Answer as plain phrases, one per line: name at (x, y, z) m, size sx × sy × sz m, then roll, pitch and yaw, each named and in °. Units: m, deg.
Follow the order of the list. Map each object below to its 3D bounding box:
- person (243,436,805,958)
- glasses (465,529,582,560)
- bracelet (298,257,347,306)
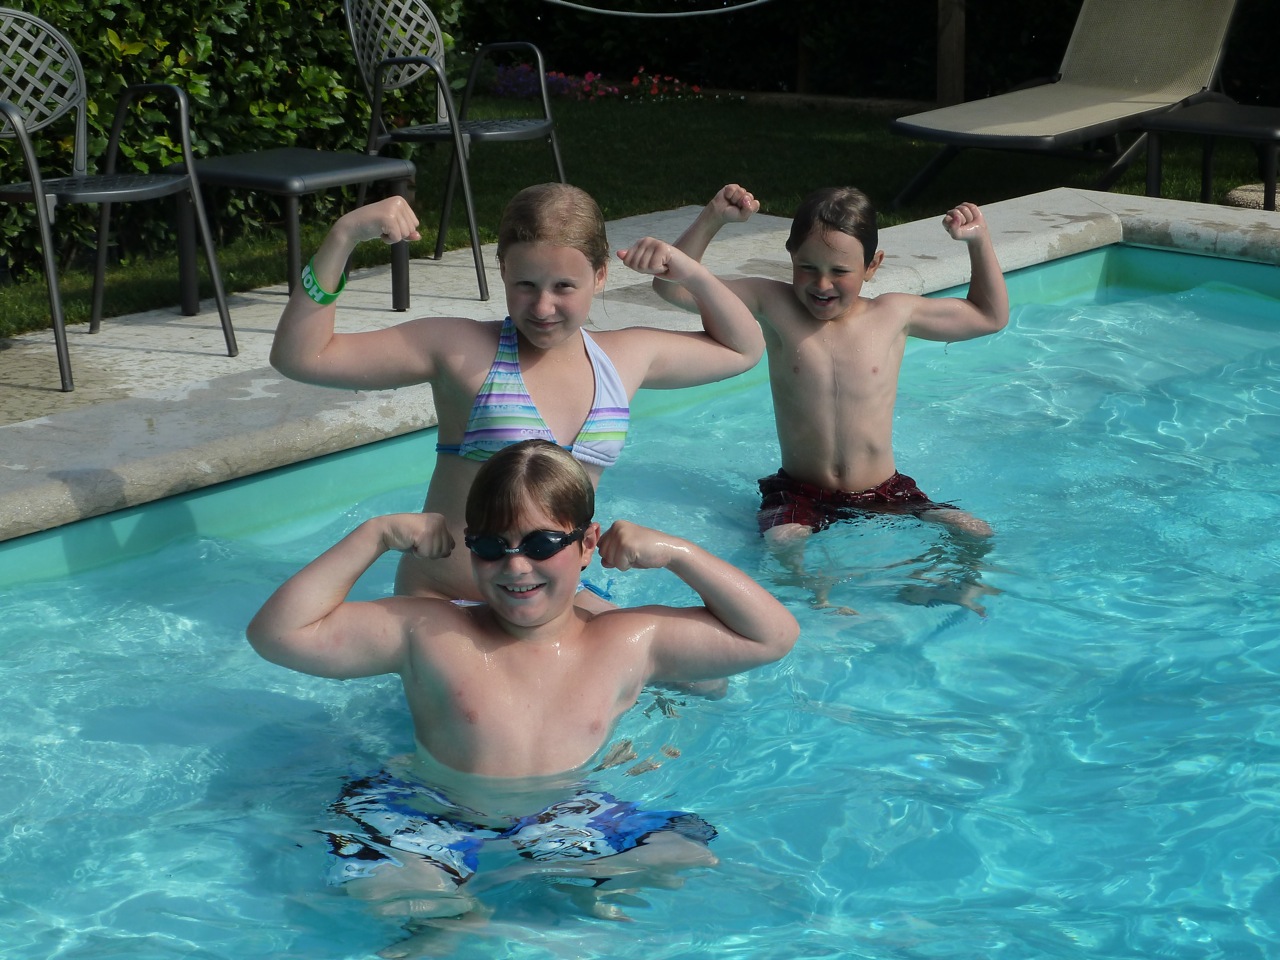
person at (-0.266, 0.479, 2.706) m, size 1.745 × 0.952 × 0.784 m, roll -5°, pitch 9°, yaw 31°
glasses at (-0.252, 0.138, 2.596) m, size 0.260 × 0.070 × 0.102 m, roll -4°, pitch 20°, yaw -8°
bracelet at (-0.806, -0.501, 2.945) m, size 0.136 × 0.098 × 0.066 m, roll 5°, pitch -5°, yaw -22°
